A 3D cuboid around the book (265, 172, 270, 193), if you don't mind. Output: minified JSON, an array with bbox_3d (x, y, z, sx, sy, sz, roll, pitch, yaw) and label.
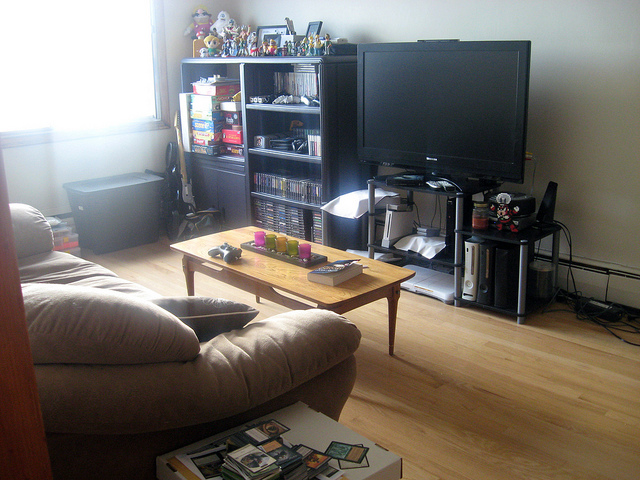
[{"bbox_3d":[-0.458,-0.483,4.424,0.020,0.159,0.048,-6,17,-39],"label":"book"}]

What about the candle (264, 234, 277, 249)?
[{"bbox_3d":[-0.289,0.008,2.966,0.078,0.064,0.061,6,11,21],"label":"candle"}]

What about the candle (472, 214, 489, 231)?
[{"bbox_3d":[1.004,-0.110,3.230,0.093,0.095,0.092,-1,9,-4],"label":"candle"}]

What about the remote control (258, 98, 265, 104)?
[{"bbox_3d":[-0.492,-1.160,4.286,0.038,0.036,0.011,25,5,15],"label":"remote control"}]

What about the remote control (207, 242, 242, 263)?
[{"bbox_3d":[-0.523,0.067,2.847,0.152,0.069,0.104,7,16,44],"label":"remote control"}]

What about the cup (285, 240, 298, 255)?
[{"bbox_3d":[-0.157,0.041,2.863,0.066,0.070,0.075,1,16,-1],"label":"cup"}]

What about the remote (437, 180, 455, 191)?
[{"bbox_3d":[0.835,-0.359,3.389,0.076,0.057,0.148,3,13,-10],"label":"remote"}]

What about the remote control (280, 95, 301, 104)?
[{"bbox_3d":[-0.232,-1.121,4.098,0.109,0.042,0.063,5,16,21],"label":"remote control"}]

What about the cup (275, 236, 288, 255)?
[{"bbox_3d":[-0.223,0.032,2.923,0.086,0.092,0.082,0,11,0],"label":"cup"}]

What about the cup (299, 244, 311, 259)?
[{"bbox_3d":[-0.083,0.060,2.808,0.064,0.067,0.071,2,13,9],"label":"cup"}]

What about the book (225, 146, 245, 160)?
[{"bbox_3d":[-0.787,-0.816,4.744,0.160,0.038,0.161,16,20,21],"label":"book"}]

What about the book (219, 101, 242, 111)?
[{"bbox_3d":[-0.802,-1.194,4.595,0.083,0.095,0.263,-5,17,-37],"label":"book"}]

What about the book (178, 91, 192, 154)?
[{"bbox_3d":[-1.267,-1.090,4.928,0.125,0.523,0.462,0,1,-6],"label":"book"}]

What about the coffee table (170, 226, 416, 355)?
[{"bbox_3d":[-0.215,0.323,3.034,1.478,0.509,0.797,13,16,41],"label":"coffee table"}]

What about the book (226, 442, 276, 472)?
[{"bbox_3d":[-0.172,0.554,1.307,0.106,0.006,0.078,17,17,40],"label":"book"}]

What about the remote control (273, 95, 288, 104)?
[{"bbox_3d":[-0.325,-1.136,4.179,0.106,0.025,0.057,-30,16,-2],"label":"remote control"}]

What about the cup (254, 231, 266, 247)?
[{"bbox_3d":[-0.351,-0.007,3.049,0.075,0.071,0.074,0,13,0],"label":"cup"}]

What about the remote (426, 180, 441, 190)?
[{"bbox_3d":[0.764,-0.369,3.433,0.046,0.018,0.079,-13,28,-9],"label":"remote"}]
